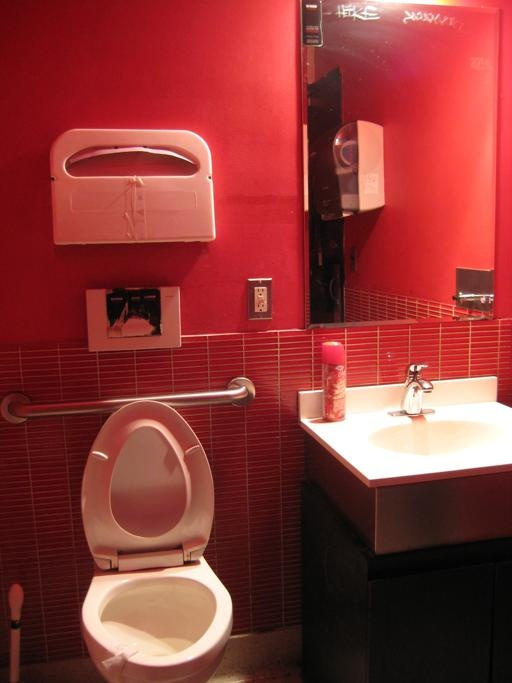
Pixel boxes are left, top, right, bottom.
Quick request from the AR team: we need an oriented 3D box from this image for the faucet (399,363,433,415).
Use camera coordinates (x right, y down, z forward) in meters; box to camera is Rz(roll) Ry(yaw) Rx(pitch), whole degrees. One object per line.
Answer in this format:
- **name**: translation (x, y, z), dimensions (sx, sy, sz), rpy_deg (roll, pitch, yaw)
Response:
- **faucet**: translation (0.438, 0.127, 1.685), dimensions (0.097, 0.138, 0.094), rpy_deg (-10, 10, -44)
